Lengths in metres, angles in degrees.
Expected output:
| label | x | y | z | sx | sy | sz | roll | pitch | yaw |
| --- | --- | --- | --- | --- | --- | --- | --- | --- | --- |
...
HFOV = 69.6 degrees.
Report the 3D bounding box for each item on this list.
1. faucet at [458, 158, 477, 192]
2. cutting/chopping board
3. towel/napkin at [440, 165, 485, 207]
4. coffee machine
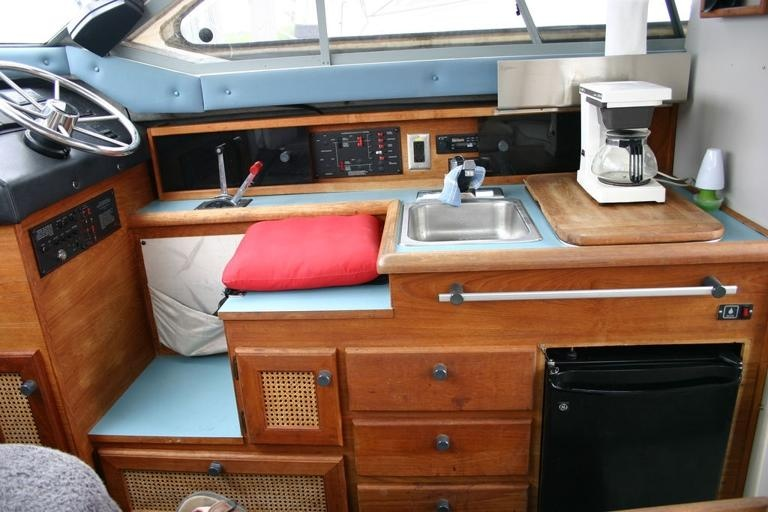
| label | x | y | z | sx | sy | sz | roll | pitch | yaw |
| --- | --- | --- | --- | --- | --- | --- | --- | --- | --- |
| faucet | 0.414 | -0.368 | 2.513 | 0.081 | 0.116 | 0.137 | 21 | 24 | 29 |
| cutting/chopping board | 0.951 | -0.223 | 2.303 | 0.607 | 0.156 | 0.683 | -2 | 20 | 3 |
| towel/napkin | 0.359 | -0.321 | 2.391 | 0.176 | 0.173 | 0.260 | -9 | -3 | 15 |
| coffee machine | 1.022 | -0.488 | 2.320 | 0.363 | 0.440 | 0.402 | 0 | 24 | 13 |
